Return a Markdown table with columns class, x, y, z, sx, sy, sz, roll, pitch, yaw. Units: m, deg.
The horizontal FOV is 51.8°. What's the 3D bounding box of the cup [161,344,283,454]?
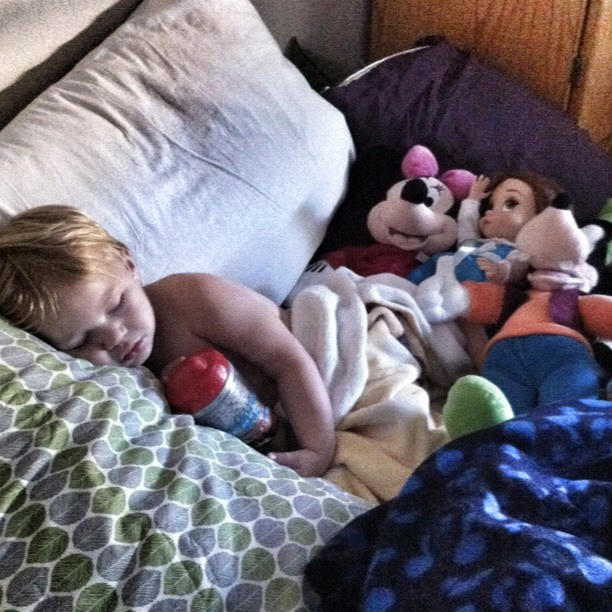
| class | x | y | z | sx | sy | sz | roll | pitch | yaw |
| --- | --- | --- | --- | --- | --- | --- | --- | --- | --- |
| cup | -0.127 | 0.154 | 0.900 | 0.092 | 0.169 | 0.081 | 1 | 34 | 34 |
